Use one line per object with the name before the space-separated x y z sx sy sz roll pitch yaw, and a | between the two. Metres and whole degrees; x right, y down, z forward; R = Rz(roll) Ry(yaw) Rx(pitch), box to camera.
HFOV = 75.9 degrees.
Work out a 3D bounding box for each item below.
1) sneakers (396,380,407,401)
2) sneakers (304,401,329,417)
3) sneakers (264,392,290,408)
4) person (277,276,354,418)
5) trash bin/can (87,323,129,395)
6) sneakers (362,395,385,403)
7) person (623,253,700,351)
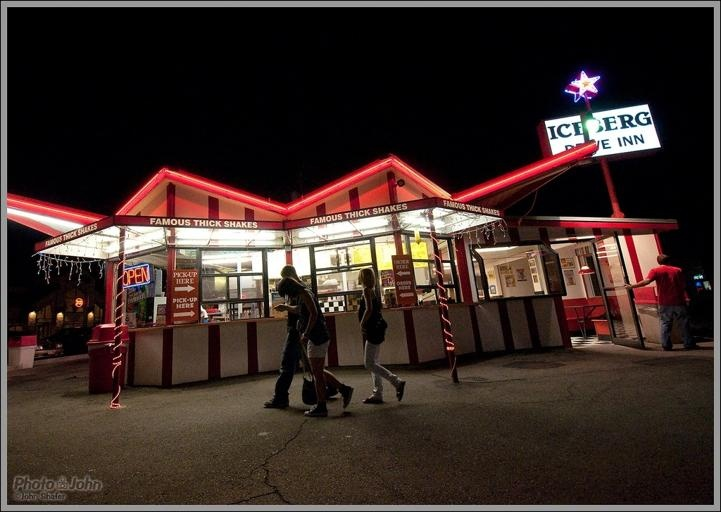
sneakers | 0.648 2.133 7.469 0.172 0.369 0.129 -3 1 -12
sneakers | -0.687 2.318 7.028 0.362 0.197 0.243 -4 3 3
sneakers | -1.421 2.396 7.641 0.470 0.265 0.166 5 -14 -2
person | -0.815 1.384 7.199 0.540 2.124 0.790 -5 4 -27
trash bin/can | -5.273 2.093 9.416 0.696 1.153 0.369 -3 3 17
sneakers | 0.215 2.330 7.494 0.343 0.131 0.124 5 -18 1
person | 6.609 1.087 9.914 0.873 1.745 0.612 -2 4 29
